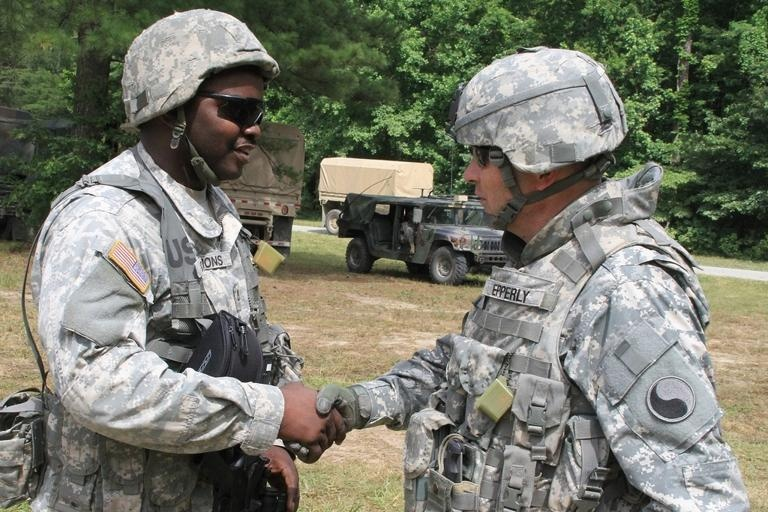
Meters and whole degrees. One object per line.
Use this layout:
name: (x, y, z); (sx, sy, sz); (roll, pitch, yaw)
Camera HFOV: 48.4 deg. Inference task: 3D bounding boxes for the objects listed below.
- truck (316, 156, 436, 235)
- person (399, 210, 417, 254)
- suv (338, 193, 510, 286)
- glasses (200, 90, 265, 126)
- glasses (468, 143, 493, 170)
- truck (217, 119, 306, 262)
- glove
truck: (-0.373, -2.165, 29.912); (4.247, 2.711, 2.229); (5, 10, 23)
person: (0.502, -0.434, 17.403); (0.269, 0.718, 0.495); (5, 6, -20)
suv: (0.859, -0.429, 17.579); (2.765, 1.412, 1.801); (5, 5, 43)
glasses: (-0.778, -0.768, 4.497); (0.193, 0.074, 0.199); (8, -2, 16)
glasses: (0.517, -0.521, 4.410); (0.032, 0.104, 0.096); (-5, 3, -37)
truck: (-2.267, -1.407, 17.058); (1.920, 2.079, 3.329); (2, 10, -10)
glove: (-0.284, 0.874, 4.578); (0.514, 0.302, 0.192); (-38, -19, -19)
